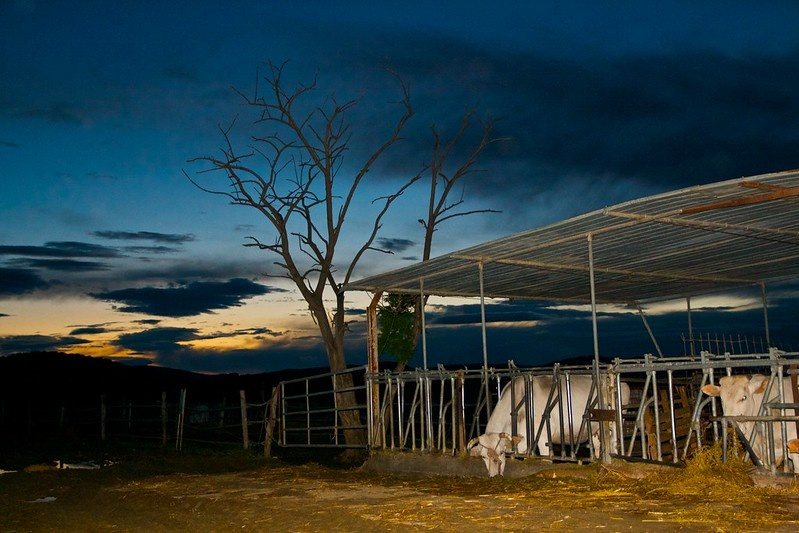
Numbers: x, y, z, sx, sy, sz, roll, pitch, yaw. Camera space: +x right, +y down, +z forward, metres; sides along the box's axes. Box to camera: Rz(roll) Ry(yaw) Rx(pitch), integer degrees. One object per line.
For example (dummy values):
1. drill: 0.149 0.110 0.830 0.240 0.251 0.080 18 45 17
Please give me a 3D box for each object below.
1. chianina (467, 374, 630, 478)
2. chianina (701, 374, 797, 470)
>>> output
1. chianina: 2.928 3.040 15.258 2.980 1.939 2.088 7 -14 -35
2. chianina: 6.093 2.650 13.438 1.175 1.614 1.797 -10 -15 36
